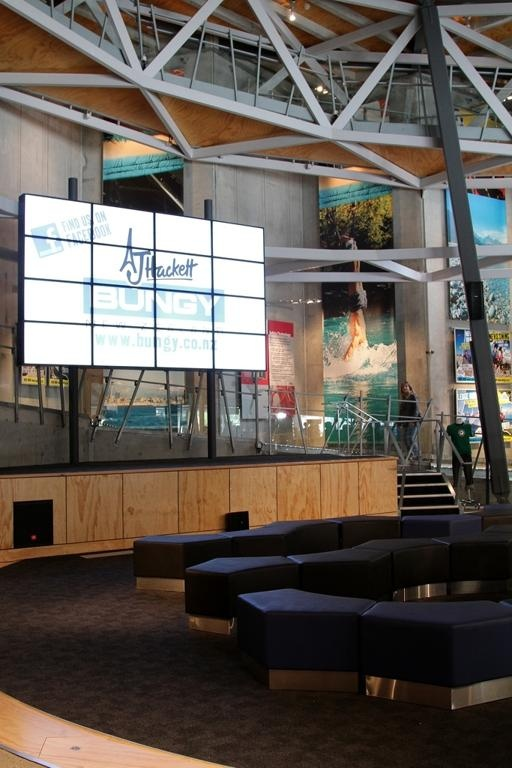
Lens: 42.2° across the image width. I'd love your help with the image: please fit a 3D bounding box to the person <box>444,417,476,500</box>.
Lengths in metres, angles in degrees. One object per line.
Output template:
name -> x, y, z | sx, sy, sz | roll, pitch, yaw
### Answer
person -> 4.061, 1.554, 13.143 | 0.476, 1.529, 1.161 | -2, -2, 17
